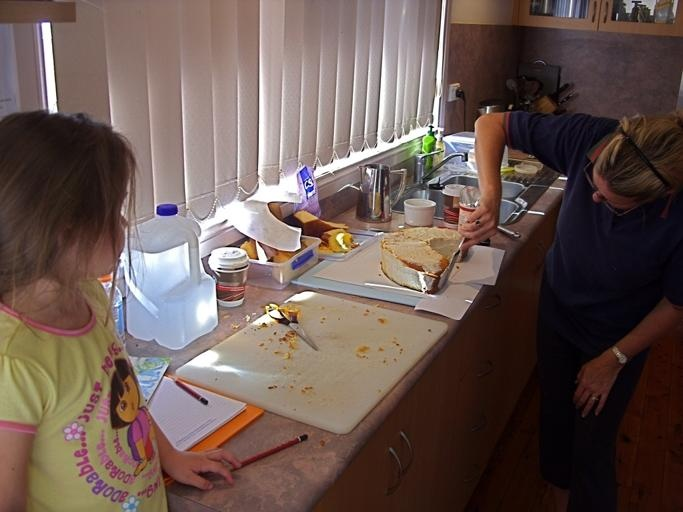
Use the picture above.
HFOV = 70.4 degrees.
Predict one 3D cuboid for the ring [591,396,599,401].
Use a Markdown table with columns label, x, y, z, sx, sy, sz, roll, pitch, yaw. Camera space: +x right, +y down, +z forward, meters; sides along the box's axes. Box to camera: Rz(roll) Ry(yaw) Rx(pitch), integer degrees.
| label | x | y | z | sx | sy | sz | roll | pitch | yaw |
| --- | --- | --- | --- | --- | --- | --- | --- | --- | --- |
| ring | 0.885 | 0.497 | 1.690 | 0.022 | 0.006 | 0.015 | -27 | 30 | -36 |

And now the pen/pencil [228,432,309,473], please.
| label | x | y | z | sx | sy | sz | roll | pitch | yaw |
| --- | --- | --- | --- | --- | --- | --- | --- | --- | --- |
| pen/pencil | -0.155 | 0.415 | 1.012 | 0.114 | 0.014 | 0.012 | -17 | 52 | -23 |

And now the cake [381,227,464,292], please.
| label | x | y | z | sx | sy | sz | roll | pitch | yaw |
| --- | --- | --- | --- | --- | --- | --- | --- | --- | --- |
| cake | 0.299 | 0.008 | 1.825 | 0.313 | 0.108 | 0.488 | 4 | 24 | 13 |

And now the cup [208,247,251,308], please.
| label | x | y | z | sx | sy | sz | roll | pitch | yaw |
| --- | --- | --- | --- | --- | --- | --- | --- | --- | --- |
| cup | -0.362 | 0.063 | 1.546 | 0.134 | 0.164 | 0.133 | 4 | 20 | -2 |

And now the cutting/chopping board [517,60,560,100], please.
| label | x | y | z | sx | sy | sz | roll | pitch | yaw |
| --- | --- | --- | --- | --- | --- | --- | --- | --- | --- |
| cutting/chopping board | 1.658 | -1.512 | 4.085 | 0.351 | 0.239 | 0.142 | 13 | 29 | 28 |

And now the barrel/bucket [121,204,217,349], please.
| label | x | y | z | sx | sy | sz | roll | pitch | yaw |
| --- | --- | --- | --- | --- | --- | --- | --- | --- | --- |
| barrel/bucket | -0.494 | 0.047 | 1.394 | 0.220 | 0.394 | 0.242 | 7 | 21 | 4 |

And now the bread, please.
| label | x | y | z | sx | sy | sz | roll | pitch | yaw |
| --- | --- | --- | --- | --- | --- | --- | --- | --- | --- |
| bread | -0.170 | -0.096 | 1.770 | 0.228 | 0.121 | 0.340 | 15 | 28 | 18 |

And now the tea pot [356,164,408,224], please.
| label | x | y | z | sx | sy | sz | roll | pitch | yaw |
| --- | --- | --- | --- | --- | --- | --- | --- | --- | --- |
| tea pot | 0.191 | -0.289 | 2.260 | 0.229 | 0.255 | 0.152 | 6 | 15 | 23 |

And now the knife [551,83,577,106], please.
| label | x | y | z | sx | sy | sz | roll | pitch | yaw |
| --- | --- | --- | --- | --- | --- | --- | --- | --- | --- |
| knife | 1.835 | -1.340 | 4.029 | 0.311 | 0.161 | 0.100 | -25 | 33 | -36 |

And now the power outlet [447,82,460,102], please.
| label | x | y | z | sx | sy | sz | roll | pitch | yaw |
| --- | --- | --- | --- | --- | --- | --- | --- | --- | --- |
| power outlet | 0.734 | -1.089 | 3.208 | 0.029 | 0.125 | 0.126 | 13 | 17 | 34 |

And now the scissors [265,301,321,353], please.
| label | x | y | z | sx | sy | sz | roll | pitch | yaw |
| --- | --- | --- | --- | --- | --- | --- | --- | --- | --- |
| scissors | -0.154 | 0.197 | 1.431 | 0.070 | 0.038 | 0.236 | -9 | 31 | -29 |

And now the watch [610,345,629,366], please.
| label | x | y | z | sx | sy | sz | roll | pitch | yaw |
| --- | --- | --- | --- | --- | --- | --- | --- | --- | --- |
| watch | 0.923 | 0.333 | 1.632 | 0.055 | 0.055 | 0.060 | -31 | 53 | 12 |
